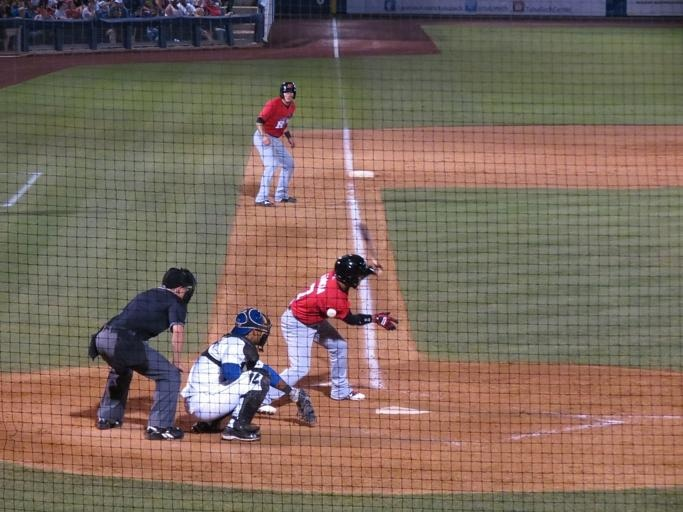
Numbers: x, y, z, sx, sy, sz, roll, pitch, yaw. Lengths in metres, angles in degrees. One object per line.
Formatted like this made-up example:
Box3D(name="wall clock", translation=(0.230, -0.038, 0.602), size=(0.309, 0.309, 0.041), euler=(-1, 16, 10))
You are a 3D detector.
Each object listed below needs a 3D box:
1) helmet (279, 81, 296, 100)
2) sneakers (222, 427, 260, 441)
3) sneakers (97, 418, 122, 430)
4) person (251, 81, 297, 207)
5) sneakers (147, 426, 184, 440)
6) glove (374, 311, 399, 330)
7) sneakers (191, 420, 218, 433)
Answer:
Box3D(name="helmet", translation=(-1.240, -3.775, 35.189), size=(0.297, 0.358, 0.629), euler=(4, 20, 3))
Box3D(name="sneakers", translation=(-1.885, 3.251, 28.481), size=(0.726, 0.278, 0.254), euler=(0, 2, -2))
Box3D(name="sneakers", translation=(-4.298, 3.064, 28.663), size=(0.431, 0.178, 0.189), euler=(-1, 22, -8))
Box3D(name="person", translation=(-1.529, -2.527, 35.210), size=(0.910, 2.752, 0.813), euler=(-1, 21, -8))
Box3D(name="sneakers", translation=(-3.252, 3.220, 28.291), size=(0.533, 0.205, 0.280), euler=(1, 3, -11))
Box3D(name="glove", translation=(0.753, 1.245, 28.724), size=(0.441, 0.117, 0.311), euler=(26, 38, 26))
Box3D(name="sneakers", translation=(-2.530, 3.136, 28.529), size=(0.450, 0.279, 0.199), euler=(1, 7, 0))
